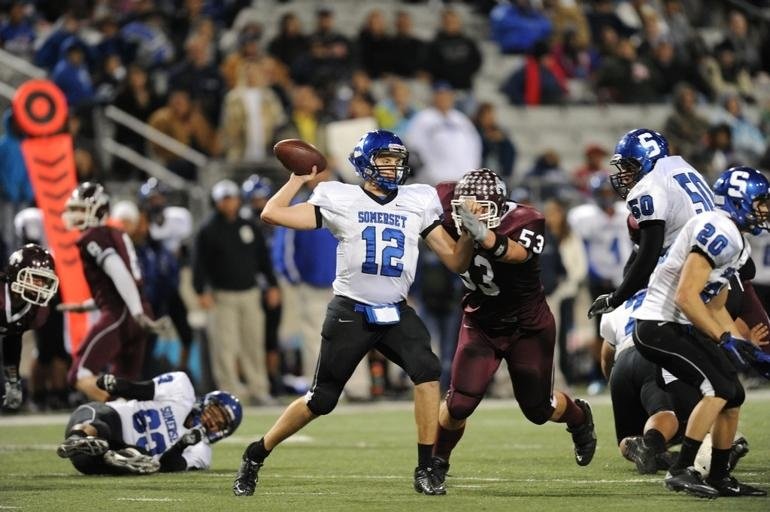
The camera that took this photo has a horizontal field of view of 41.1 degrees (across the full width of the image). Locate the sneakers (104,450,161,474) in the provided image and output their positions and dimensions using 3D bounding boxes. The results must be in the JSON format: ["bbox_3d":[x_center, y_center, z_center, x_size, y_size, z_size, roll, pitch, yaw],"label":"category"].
[{"bbox_3d":[-1.965,1.597,8.031,0.288,0.129,0.209,14,1,-18],"label":"sneakers"}]

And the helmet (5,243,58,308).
[{"bbox_3d":[-2.637,0.130,7.818,0.351,0.406,0.452,20,1,-42],"label":"helmet"}]

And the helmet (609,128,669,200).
[{"bbox_3d":[1.993,-0.738,8.251,0.532,0.584,0.453,-7,4,7],"label":"helmet"}]

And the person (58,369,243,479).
[{"bbox_3d":[-1.853,1.313,8.126,1.230,0.676,0.770,2,-6,-39],"label":"person"}]

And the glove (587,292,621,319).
[{"bbox_3d":[1.680,0.412,8.016,0.189,0.118,0.301,-16,1,-38],"label":"glove"}]

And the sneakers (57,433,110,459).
[{"bbox_3d":[-2.272,1.445,7.936,0.429,0.170,0.206,-3,18,1],"label":"sneakers"}]

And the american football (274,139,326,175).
[{"bbox_3d":[-0.625,-0.760,7.687,0.360,0.228,0.226,21,18,-4],"label":"american football"}]

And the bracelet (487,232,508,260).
[{"bbox_3d":[0.821,-0.080,7.352,0.114,0.154,0.148,6,-18,-31],"label":"bracelet"}]

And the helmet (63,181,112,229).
[{"bbox_3d":[-2.821,-0.481,9.850,0.464,0.419,0.351,-8,-1,-36],"label":"helmet"}]

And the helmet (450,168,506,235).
[{"bbox_3d":[0.697,-0.427,7.586,0.347,0.389,0.459,-2,7,24],"label":"helmet"}]

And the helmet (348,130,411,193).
[{"bbox_3d":[-0.029,-0.705,7.638,0.347,0.425,0.493,5,-1,-33],"label":"helmet"}]

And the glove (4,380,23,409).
[{"bbox_3d":[-2.875,1.072,7.985,0.120,0.214,0.679,-1,-1,-17],"label":"glove"}]
